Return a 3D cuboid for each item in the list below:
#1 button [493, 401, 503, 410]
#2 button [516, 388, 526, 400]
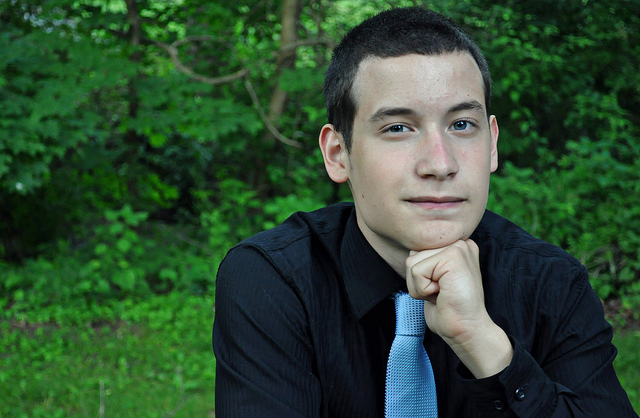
[{"bbox_3d":[0.981,1.075,3.728,0.049,0.040,0.025,2,-28,2],"label":"button"},{"bbox_3d":[1.104,1.014,3.721,0.051,0.054,0.035,-2,-28,11],"label":"button"}]
